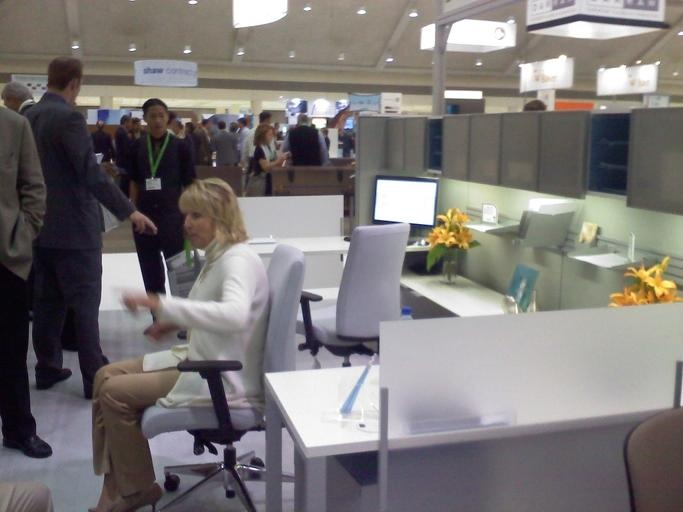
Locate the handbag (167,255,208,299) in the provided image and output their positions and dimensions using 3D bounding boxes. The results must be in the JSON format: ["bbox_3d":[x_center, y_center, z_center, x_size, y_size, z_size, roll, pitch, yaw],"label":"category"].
[{"bbox_3d":[-0.894,0.118,3.224,0.249,0.356,0.184,0,3,-25],"label":"handbag"}]

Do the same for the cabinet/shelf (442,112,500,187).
[{"bbox_3d":[0.895,-0.742,3.847,0.172,0.400,0.543,-2,10,-14],"label":"cabinet/shelf"}]

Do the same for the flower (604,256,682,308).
[{"bbox_3d":[1.361,0.143,2.561,0.329,0.206,0.372,5,-6,-23],"label":"flower"}]

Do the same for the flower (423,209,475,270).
[{"bbox_3d":[0.836,-0.205,4.305,0.374,0.485,0.458,16,17,16],"label":"flower"}]

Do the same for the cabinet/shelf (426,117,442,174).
[{"bbox_3d":[0.778,-0.906,4.534,0.118,0.424,0.179,-2,10,-16],"label":"cabinet/shelf"}]

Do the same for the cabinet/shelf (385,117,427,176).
[{"bbox_3d":[0.572,-0.964,4.822,0.152,0.445,0.495,-2,8,-18],"label":"cabinet/shelf"}]

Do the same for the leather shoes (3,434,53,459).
[{"bbox_3d":[-1.700,1.044,3.043,0.272,0.106,0.115,5,7,16],"label":"leather shoes"}]
